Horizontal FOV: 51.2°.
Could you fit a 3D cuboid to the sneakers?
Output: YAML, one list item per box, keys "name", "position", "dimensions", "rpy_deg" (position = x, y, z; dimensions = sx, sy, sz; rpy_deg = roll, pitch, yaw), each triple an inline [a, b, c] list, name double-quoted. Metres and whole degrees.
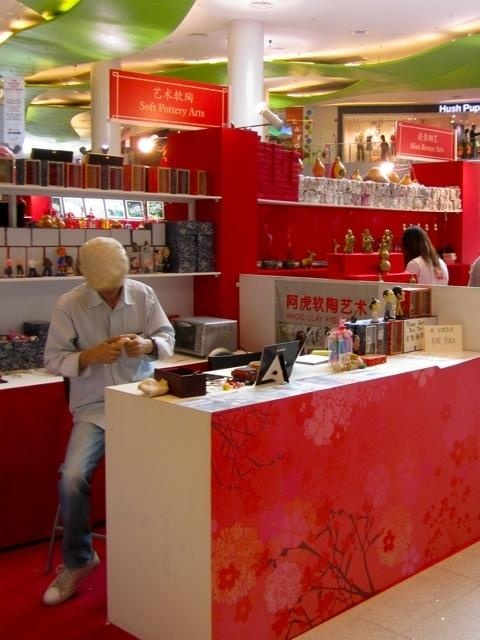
- name: "sneakers"
  position: [-0.638, 0.981, 1.969]
  dimensions: [0.083, 0.106, 0.275]
  rpy_deg: [13, 33, 24]

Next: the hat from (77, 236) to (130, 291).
- name: "hat"
  position: [-0.568, -0.235, 2.095]
  dimensions: [0.183, 0.232, 0.191]
  rpy_deg: [0, -8, -11]

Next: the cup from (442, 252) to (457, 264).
- name: "cup"
  position: [2.885, -0.866, 6.900]
  dimensions: [0.267, 0.214, 0.185]
  rpy_deg: [0, 2, 20]

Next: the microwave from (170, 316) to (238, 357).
- name: "microwave"
  position: [-0.290, 0.132, 3.795]
  dimensions: [0.450, 0.271, 0.357]
  rpy_deg: [6, 6, 42]
